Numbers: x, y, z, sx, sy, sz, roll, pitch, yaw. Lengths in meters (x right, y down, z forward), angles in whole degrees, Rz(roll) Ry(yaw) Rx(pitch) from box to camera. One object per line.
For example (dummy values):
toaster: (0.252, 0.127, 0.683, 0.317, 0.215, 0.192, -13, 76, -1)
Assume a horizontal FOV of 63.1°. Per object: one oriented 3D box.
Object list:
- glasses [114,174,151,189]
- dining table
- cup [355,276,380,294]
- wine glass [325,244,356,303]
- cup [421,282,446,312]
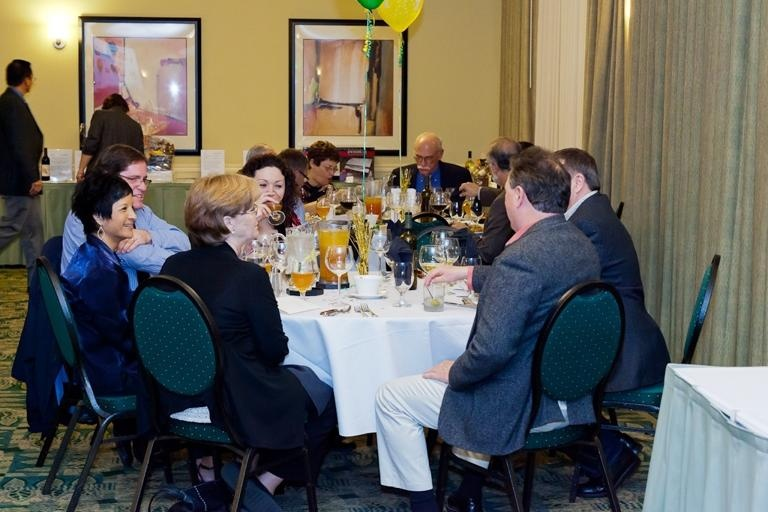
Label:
glasses: (-1.412, -0.439, 3.607, 0.138, 0.048, 0.141, 8, 5, 22)
dining table: (-0.079, 0.385, 2.830, 0.638, 0.368, 0.665, -4, 8, -18)
cup: (-0.070, 0.132, 3.003, 0.097, 0.069, 0.089, -3, 7, 0)
wine glass: (-0.214, 0.071, 3.044, 0.132, 0.308, 0.137, 4, 22, 11)
cup: (0.247, 0.187, 2.877, 0.105, 0.124, 0.106, 0, 5, 0)
